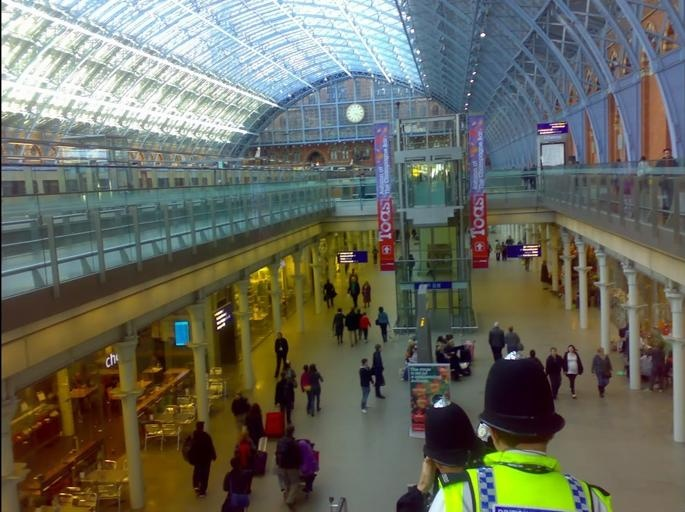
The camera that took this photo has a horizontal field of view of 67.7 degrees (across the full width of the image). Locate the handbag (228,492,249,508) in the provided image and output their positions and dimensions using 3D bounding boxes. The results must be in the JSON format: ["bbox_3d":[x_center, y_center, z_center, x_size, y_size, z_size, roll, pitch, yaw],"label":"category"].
[{"bbox_3d":[-2.012,4.876,10.027,0.360,0.261,0.249,2,44,5],"label":"handbag"}]

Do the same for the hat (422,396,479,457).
[{"bbox_3d":[0.697,1.120,3.357,0.305,0.226,0.326,-9,22,2],"label":"hat"}]

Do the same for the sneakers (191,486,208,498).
[{"bbox_3d":[-3.337,5.544,12.103,0.129,0.257,0.388,7,11,25],"label":"sneakers"}]

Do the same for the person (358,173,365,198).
[{"bbox_3d":[1.194,-4.045,30.899,0.250,1.138,0.412,-9,8,-44],"label":"person"}]

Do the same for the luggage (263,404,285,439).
[{"bbox_3d":[-1.948,4.888,14.640,0.510,0.692,0.438,-3,6,4],"label":"luggage"}]

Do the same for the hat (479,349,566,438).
[{"bbox_3d":[0.897,0.700,2.645,0.320,0.249,0.430,-1,6,6],"label":"hat"}]
